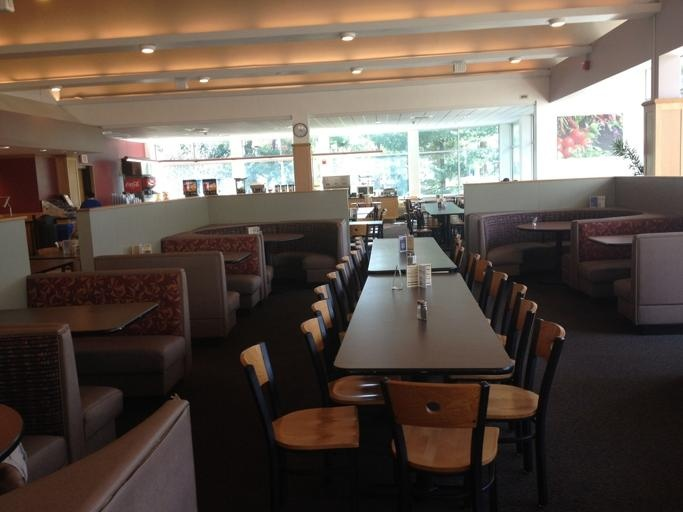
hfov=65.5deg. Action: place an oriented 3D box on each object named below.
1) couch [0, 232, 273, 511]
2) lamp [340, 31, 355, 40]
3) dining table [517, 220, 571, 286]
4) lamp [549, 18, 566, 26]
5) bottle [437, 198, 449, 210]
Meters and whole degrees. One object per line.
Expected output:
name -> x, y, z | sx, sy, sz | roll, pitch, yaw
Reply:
couch -> -1.768, 0.832, 4.776 | 1.970, 1.620, 1.462 | -1, 2, 4
lamp -> 0.086, -2.974, 7.206 | 0.208, 0.054, 0.235 | -8, 11, -14
dining table -> 2.941, -0.033, 7.411 | 0.829, 0.602, 0.838 | -1, 9, 0
lamp -> 2.878, -3.117, 7.092 | 0.182, 0.043, 0.181 | 0, 0, -43
bottle -> 2.050, -1.024, 10.757 | 0.248, 0.338, 0.826 | -2, 6, 12
